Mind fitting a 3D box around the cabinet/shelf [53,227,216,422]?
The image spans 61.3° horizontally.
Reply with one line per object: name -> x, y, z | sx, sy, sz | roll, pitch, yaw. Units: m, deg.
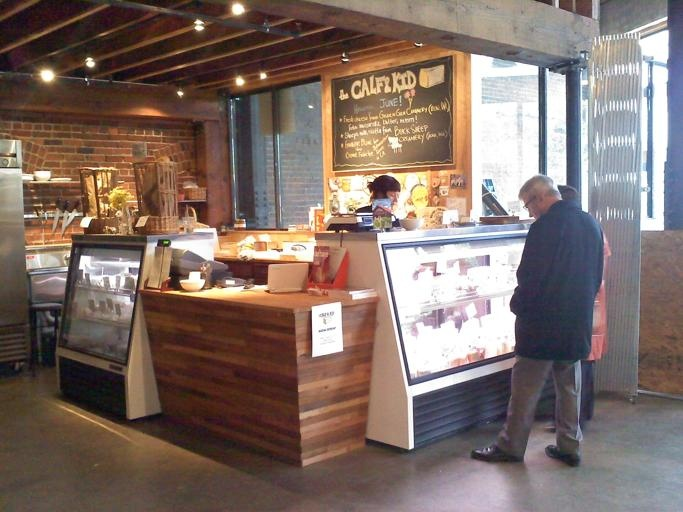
cabinet/shelf -> -2.056, 0.593, 5.364 | 1.573, 1.613, 0.662 | 2, 8, 28

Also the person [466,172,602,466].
person -> 1.420, 0.436, 4.106 | 0.876, 1.999, 0.472 | -1, 7, 8

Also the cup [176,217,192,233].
cup -> -1.469, -0.289, 5.458 | 0.172, 0.163, 0.171 | -1, -1, 0

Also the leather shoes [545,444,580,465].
leather shoes -> 1.540, 1.403, 4.064 | 0.078, 0.074, 0.205 | -8, 14, -27

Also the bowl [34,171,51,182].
bowl -> -3.906, -1.045, 7.529 | 0.193, 0.108, 0.180 | -1, 2, 0

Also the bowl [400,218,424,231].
bowl -> 0.545, -0.264, 4.598 | 0.128, 0.056, 0.120 | -3, 8, 0

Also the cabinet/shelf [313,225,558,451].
cabinet/shelf -> 0.645, 0.647, 4.333 | 0.709, 1.149, 1.887 | 1, 4, 45

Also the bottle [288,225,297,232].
bottle -> -0.697, -0.398, 8.153 | 0.111, 0.057, 0.098 | 0, 5, 1

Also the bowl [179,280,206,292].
bowl -> -1.240, 0.239, 4.765 | 0.137, 0.050, 0.132 | 0, 5, 0

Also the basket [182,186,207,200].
basket -> -2.264, -0.968, 8.900 | 0.324, 0.219, 0.275 | -8, 9, -44

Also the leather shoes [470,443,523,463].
leather shoes -> 1.089, 1.415, 4.087 | 0.358, 0.123, 0.123 | 4, -6, 14

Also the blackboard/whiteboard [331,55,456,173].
blackboard/whiteboard -> 0.570, -1.715, 7.091 | 0.049, 1.232, 1.933 | -10, 12, -44

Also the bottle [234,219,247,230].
bottle -> -1.602, -0.510, 9.081 | 0.171, 0.135, 0.159 | 1, 3, 0

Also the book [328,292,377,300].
book -> 0.097, 0.288, 4.255 | 0.151, 0.030, 0.140 | 4, 5, 44
